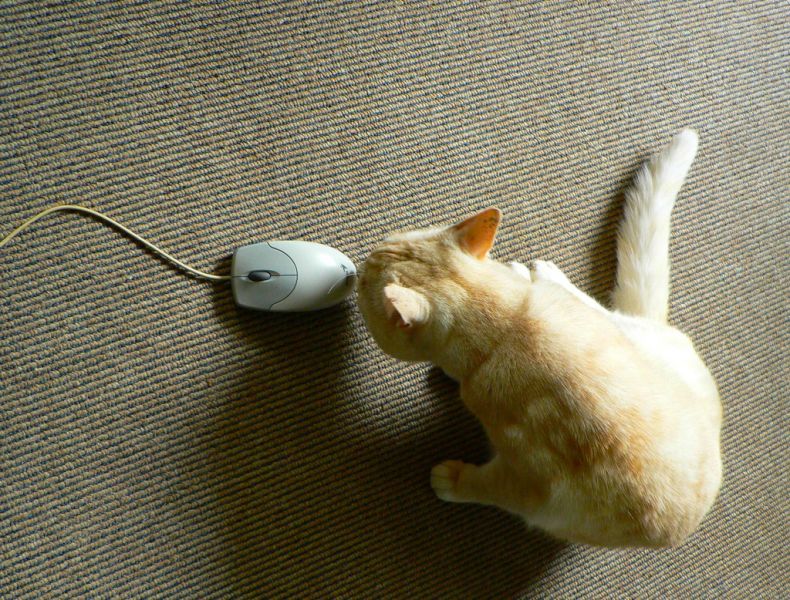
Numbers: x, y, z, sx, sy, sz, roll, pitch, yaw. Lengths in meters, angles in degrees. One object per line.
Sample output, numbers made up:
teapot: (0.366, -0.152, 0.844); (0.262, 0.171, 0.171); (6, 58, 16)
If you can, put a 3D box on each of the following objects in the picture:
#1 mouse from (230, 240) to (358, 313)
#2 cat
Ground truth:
mouse: (-0.203, -0.046, 1.874); (0.244, 0.105, 0.139); (2, 81, 1)
cat: (0.310, 0.155, 1.867); (0.721, 0.253, 0.689); (-31, 80, -4)
